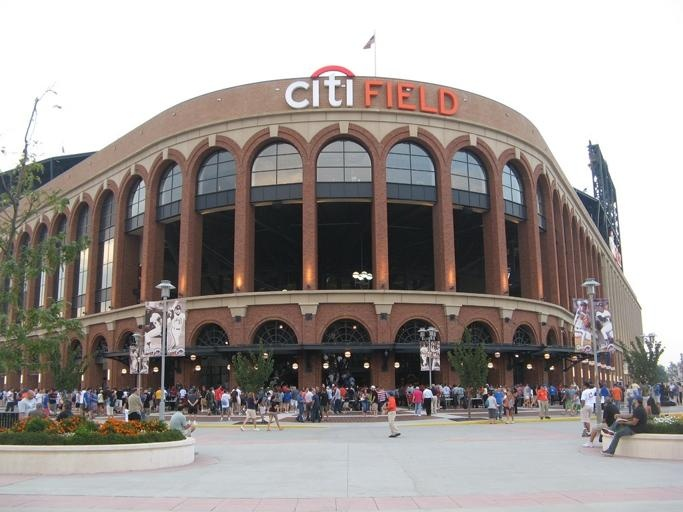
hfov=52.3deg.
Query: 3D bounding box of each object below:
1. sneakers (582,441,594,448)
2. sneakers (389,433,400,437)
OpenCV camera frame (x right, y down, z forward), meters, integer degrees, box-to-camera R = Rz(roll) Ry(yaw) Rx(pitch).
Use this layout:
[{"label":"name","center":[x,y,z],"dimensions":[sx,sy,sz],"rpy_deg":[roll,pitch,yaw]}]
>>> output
[{"label":"sneakers","center":[9.157,6.881,25.406],"dimensions":[0.501,0.283,0.207],"rpy_deg":[-3,-8,25]},{"label":"sneakers","center":[2.323,7.752,30.144],"dimensions":[0.180,0.233,0.479],"rpy_deg":[-5,-2,-45]}]
